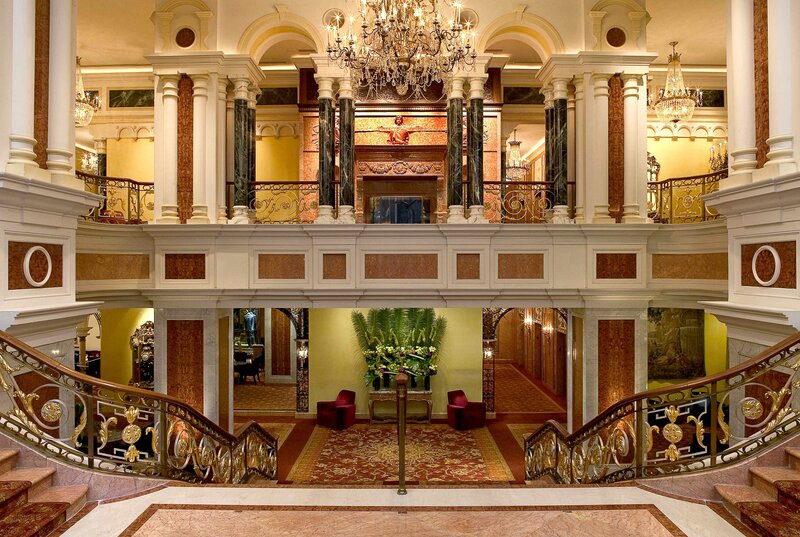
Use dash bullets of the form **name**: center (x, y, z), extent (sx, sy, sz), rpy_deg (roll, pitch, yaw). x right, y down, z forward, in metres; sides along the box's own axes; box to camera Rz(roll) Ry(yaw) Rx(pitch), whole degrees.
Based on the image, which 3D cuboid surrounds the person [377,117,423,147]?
- **person**: center (-0.016, -3.309, 15.386), extent (0.755, 0.539, 0.175), rpy_deg (0, -9, -3)

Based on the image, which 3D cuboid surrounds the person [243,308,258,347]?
- **person**: center (-5.108, 1.980, 21.419), extent (0.414, 1.153, 0.155), rpy_deg (-2, 2, -17)

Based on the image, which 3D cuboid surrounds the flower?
- **flower**: center (0.040, 1.984, 16.075), extent (1.904, 1.916, 0.705), rpy_deg (0, -10, -4)

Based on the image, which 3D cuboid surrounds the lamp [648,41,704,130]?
- **lamp**: center (6.304, -4.237, 14.359), extent (1.101, 1.873, 1.138), rpy_deg (-1, -1, 42)

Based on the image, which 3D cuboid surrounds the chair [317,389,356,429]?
- **chair**: center (-1.640, 3.587, 16.063), extent (0.868, 0.857, 0.875), rpy_deg (2, -2, 30)

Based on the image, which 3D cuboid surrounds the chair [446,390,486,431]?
- **chair**: center (1.693, 3.593, 15.921), extent (0.992, 0.829, 1.031), rpy_deg (-1, -1, 0)

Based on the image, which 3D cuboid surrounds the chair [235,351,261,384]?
- **chair**: center (-4.898, 3.113, 20.134), extent (0.739, 1.043, 0.942), rpy_deg (-1, -12, -2)
